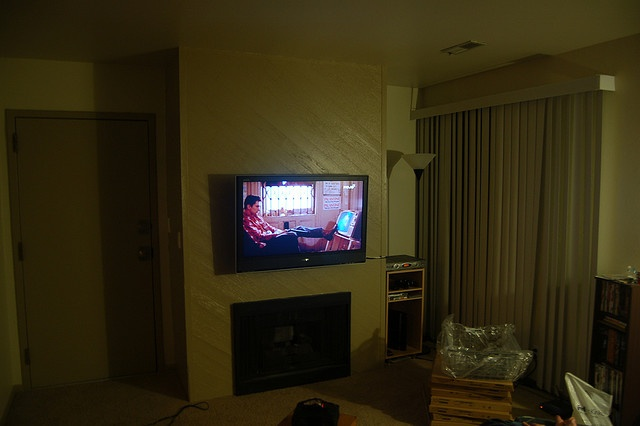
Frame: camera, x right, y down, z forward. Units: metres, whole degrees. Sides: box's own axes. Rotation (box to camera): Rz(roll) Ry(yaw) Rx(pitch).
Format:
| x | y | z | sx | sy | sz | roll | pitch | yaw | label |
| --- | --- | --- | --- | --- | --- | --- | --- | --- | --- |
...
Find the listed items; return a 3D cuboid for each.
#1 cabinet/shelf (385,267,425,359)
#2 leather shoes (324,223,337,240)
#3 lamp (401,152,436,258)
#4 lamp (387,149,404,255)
| x | y | z | sx | sy | sz | roll | pitch | yaw | label |
| --- | --- | --- | --- | --- | --- | --- | --- | --- | --- |
| 1.000 | 1.173 | 5.909 | 0.418 | 1.083 | 0.590 | 3 | 5 | 15 | cabinet/shelf |
| 0.103 | 0.210 | 5.277 | 0.087 | 0.228 | 0.075 | 12 | 5 | -23 | leather shoes |
| 1.187 | -0.074 | 6.172 | 0.405 | 1.346 | 0.908 | 3 | 5 | 12 | lamp |
| 0.890 | -0.111 | 6.178 | 0.188 | 1.343 | 0.700 | 3 | 5 | 8 | lamp |
